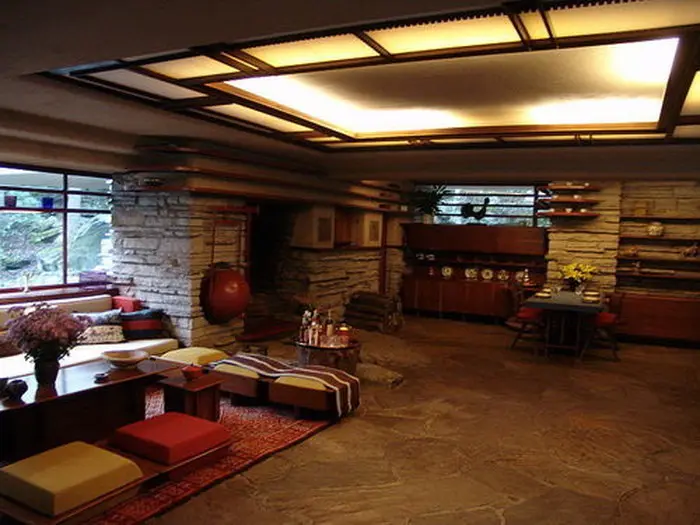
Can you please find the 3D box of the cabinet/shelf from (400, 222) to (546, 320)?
[{"bbox_3d":[2.939,0.209,11.613,3.896,1.630,0.639,1,-3,24],"label":"cabinet/shelf"}]

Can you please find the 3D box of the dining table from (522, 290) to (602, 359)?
[{"bbox_3d":[4.006,1.315,9.430,1.592,0.725,2.027,4,-10,20],"label":"dining table"}]

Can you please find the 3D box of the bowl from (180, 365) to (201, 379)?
[{"bbox_3d":[-1.651,1.135,5.232,0.213,0.093,0.172,2,-2,-27],"label":"bowl"}]

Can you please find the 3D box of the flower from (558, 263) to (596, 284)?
[{"bbox_3d":[4.578,0.223,10.177,0.703,0.400,0.600,5,8,20],"label":"flower"}]

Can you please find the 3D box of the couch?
[{"bbox_3d":[-3.496,0.709,6.498,1.133,0.575,1.935,1,2,30],"label":"couch"}]

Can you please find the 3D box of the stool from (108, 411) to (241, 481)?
[{"bbox_3d":[-1.689,1.630,4.545,0.651,0.143,0.592,3,4,33],"label":"stool"}]

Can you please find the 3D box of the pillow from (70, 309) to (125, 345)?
[{"bbox_3d":[-3.494,0.874,6.773,0.343,0.417,0.774,9,-3,28],"label":"pillow"}]

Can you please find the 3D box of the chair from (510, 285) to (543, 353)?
[{"bbox_3d":[3.399,1.124,9.677,0.680,0.712,1.527,1,3,24],"label":"chair"}]

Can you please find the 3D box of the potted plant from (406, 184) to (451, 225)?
[{"bbox_3d":[1.906,-1.501,12.767,0.843,0.951,0.635,11,12,42],"label":"potted plant"}]

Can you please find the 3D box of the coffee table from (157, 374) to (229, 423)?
[{"bbox_3d":[-1.597,1.449,5.369,0.755,0.418,0.647,2,5,27],"label":"coffee table"}]

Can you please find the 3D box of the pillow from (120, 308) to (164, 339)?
[{"bbox_3d":[-2.937,0.874,7.088,0.697,0.260,0.176,-2,-25,-11],"label":"pillow"}]

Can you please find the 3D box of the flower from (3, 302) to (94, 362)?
[{"bbox_3d":[-2.843,0.660,4.977,1.018,0.482,0.716,2,4,-8],"label":"flower"}]

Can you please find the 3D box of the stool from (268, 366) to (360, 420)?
[{"bbox_3d":[-0.436,1.480,5.899,0.911,0.261,0.746,3,3,24],"label":"stool"}]

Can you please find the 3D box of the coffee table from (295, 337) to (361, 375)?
[{"bbox_3d":[-0.274,1.263,6.901,0.780,0.324,0.585,0,1,1],"label":"coffee table"}]
